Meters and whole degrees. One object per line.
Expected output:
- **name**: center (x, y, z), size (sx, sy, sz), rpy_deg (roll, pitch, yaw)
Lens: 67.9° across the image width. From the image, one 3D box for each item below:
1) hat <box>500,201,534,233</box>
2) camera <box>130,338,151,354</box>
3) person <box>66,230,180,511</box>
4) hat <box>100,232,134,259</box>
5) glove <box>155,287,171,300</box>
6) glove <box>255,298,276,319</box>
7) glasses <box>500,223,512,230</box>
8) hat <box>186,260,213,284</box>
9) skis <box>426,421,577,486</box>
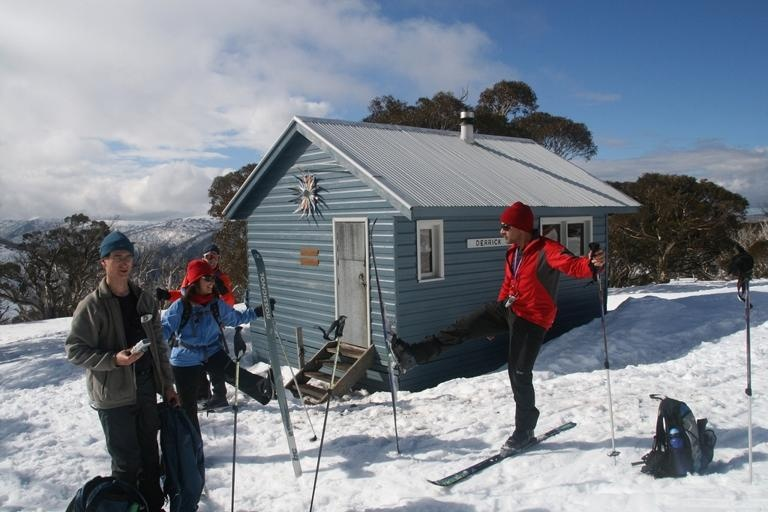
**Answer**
- **hat**: center (2.034, -0.638, 8.992), size (0.536, 0.483, 0.387), rpy_deg (-8, 13, -17)
- **camera**: center (-3.145, 1.159, 7.295), size (0.238, 0.070, 0.261), rpy_deg (-35, -19, 9)
- **person**: center (-3.488, 1.585, 7.627), size (1.207, 3.774, 0.829), rpy_deg (-10, 12, -29)
- **hat**: center (-3.660, -0.164, 7.699), size (0.385, 0.365, 0.370), rpy_deg (7, -3, -40)
- **glove**: center (-3.698, 0.615, 9.411), size (0.182, 0.232, 0.246), rpy_deg (8, -4, -1)
- **glove**: center (-1.849, 0.816, 9.074), size (0.279, 0.419, 0.124), rpy_deg (12, 20, 26)
- **glasses**: center (1.963, -0.458, 8.938), size (0.191, 0.081, 0.189), rpy_deg (5, 2, -18)
- **hat**: center (-2.967, 0.231, 9.127), size (0.409, 0.327, 0.324), rpy_deg (-11, 1, 22)
- **skis**: center (1.856, 3.044, 8.710), size (2.199, 0.116, 0.253), rpy_deg (-17, 8, -30)
